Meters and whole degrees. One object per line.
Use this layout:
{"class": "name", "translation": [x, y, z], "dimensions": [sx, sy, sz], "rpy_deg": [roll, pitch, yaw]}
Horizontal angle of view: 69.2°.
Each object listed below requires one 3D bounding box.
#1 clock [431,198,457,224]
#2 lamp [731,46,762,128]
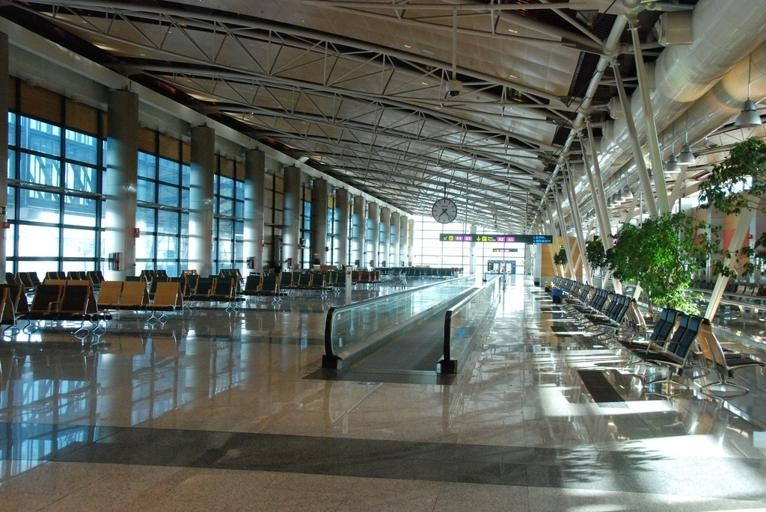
{"class": "clock", "translation": [3.699, -2.815, 32.738], "dimensions": [1.265, 1.597, 2.057], "rpy_deg": [-1, -3, 9]}
{"class": "lamp", "translation": [7.722, -3.370, 11.670], "dimensions": [0.408, 1.310, 1.252], "rpy_deg": [-3, -4, 33]}
